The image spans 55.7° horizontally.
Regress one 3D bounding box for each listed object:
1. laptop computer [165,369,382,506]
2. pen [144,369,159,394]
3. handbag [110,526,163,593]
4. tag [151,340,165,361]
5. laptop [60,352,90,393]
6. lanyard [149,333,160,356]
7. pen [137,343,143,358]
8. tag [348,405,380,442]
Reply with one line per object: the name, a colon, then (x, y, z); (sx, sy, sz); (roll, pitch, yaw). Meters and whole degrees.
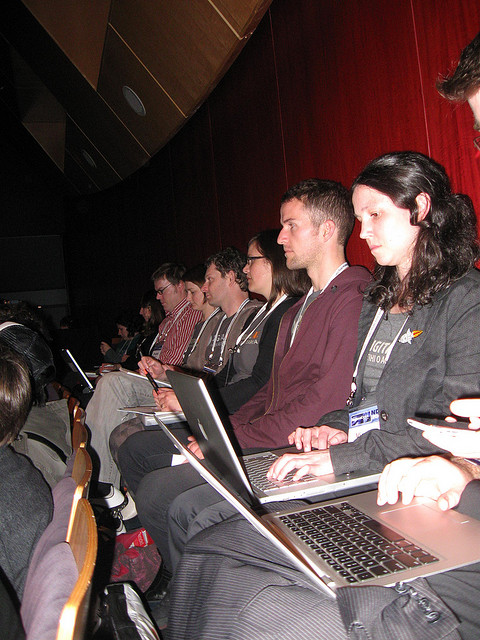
laptop computer: (0.090, 0.239, 1.079); (0.383, 0.235, 0.364); (-6, 6, -19)
pen: (-0.510, 0.343, 2.604); (0.025, 0.215, 0.030); (-29, 18, -21)
handbag: (-0.414, 1.018, 1.925); (0.098, 0.227, 0.313); (33, -35, -33)
tag: (-0.696, 0.257, 3.868); (0.093, 0.124, 0.049); (-9, -34, 42)
laptop: (-1.857, 0.576, 5.057); (0.047, 0.705, 0.393); (-27, 21, -19)
lanyard: (-0.802, 0.210, 4.229); (0.033, 0.193, 0.031); (20, 24, -14)
pen: (-0.998, 0.301, 4.522); (0.029, 0.027, 0.165); (-26, 44, -1)
tag: (0.341, 0.284, 1.244); (0.081, 0.092, 0.013); (-14, -21, 1)
